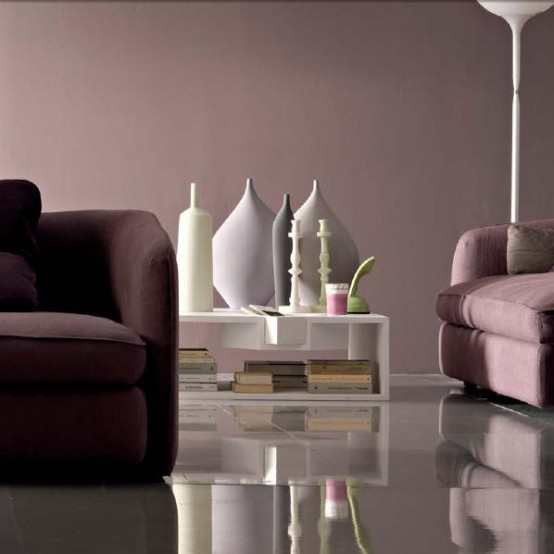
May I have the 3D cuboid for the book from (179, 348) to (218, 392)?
[{"bbox_3d":[-0.342,0.400,3.311,0.157,0.190,0.122,0,6,-2],"label":"book"}]

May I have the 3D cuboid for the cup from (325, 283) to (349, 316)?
[{"bbox_3d":[0.257,0.094,3.366,0.104,0.135,0.113,0,-4,0],"label":"cup"}]
